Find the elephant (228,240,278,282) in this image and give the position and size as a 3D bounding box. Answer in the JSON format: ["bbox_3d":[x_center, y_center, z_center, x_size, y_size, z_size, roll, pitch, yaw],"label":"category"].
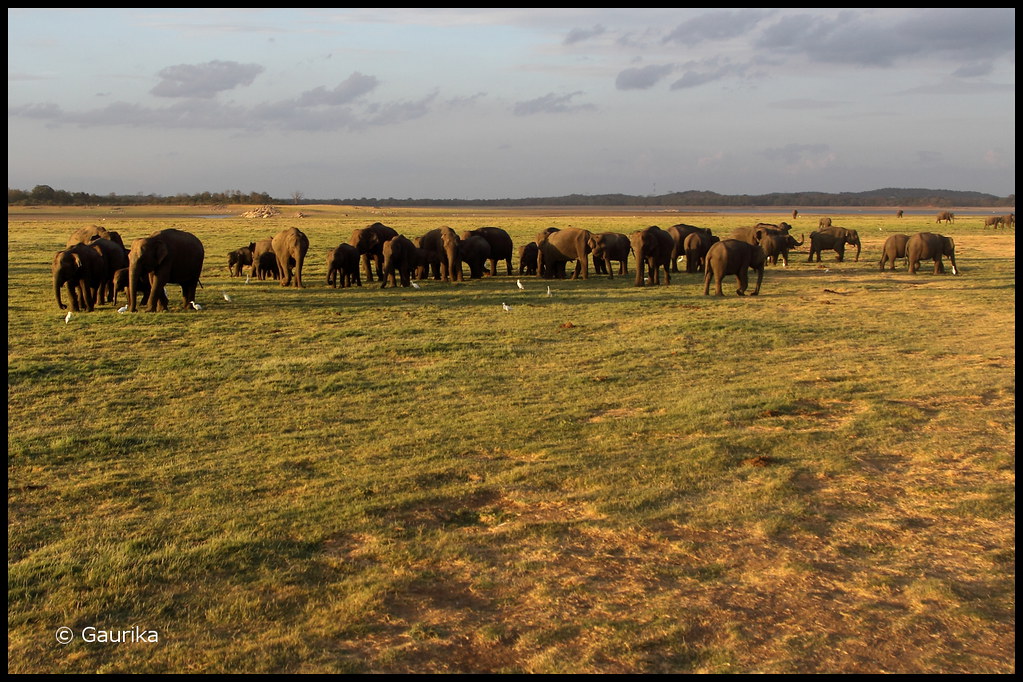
[{"bbox_3d":[-10.692,-3.355,36.889,2.574,1.553,1.214,7,9,43],"label":"elephant"}]

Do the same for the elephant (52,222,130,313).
[{"bbox_3d":[-13.643,-2.285,27.175,1.658,2.538,3.457,2,7,-1],"label":"elephant"}]

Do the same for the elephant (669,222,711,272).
[{"bbox_3d":[7.102,-4.166,38.007,1.336,2.037,3.437,4,11,30],"label":"elephant"}]
